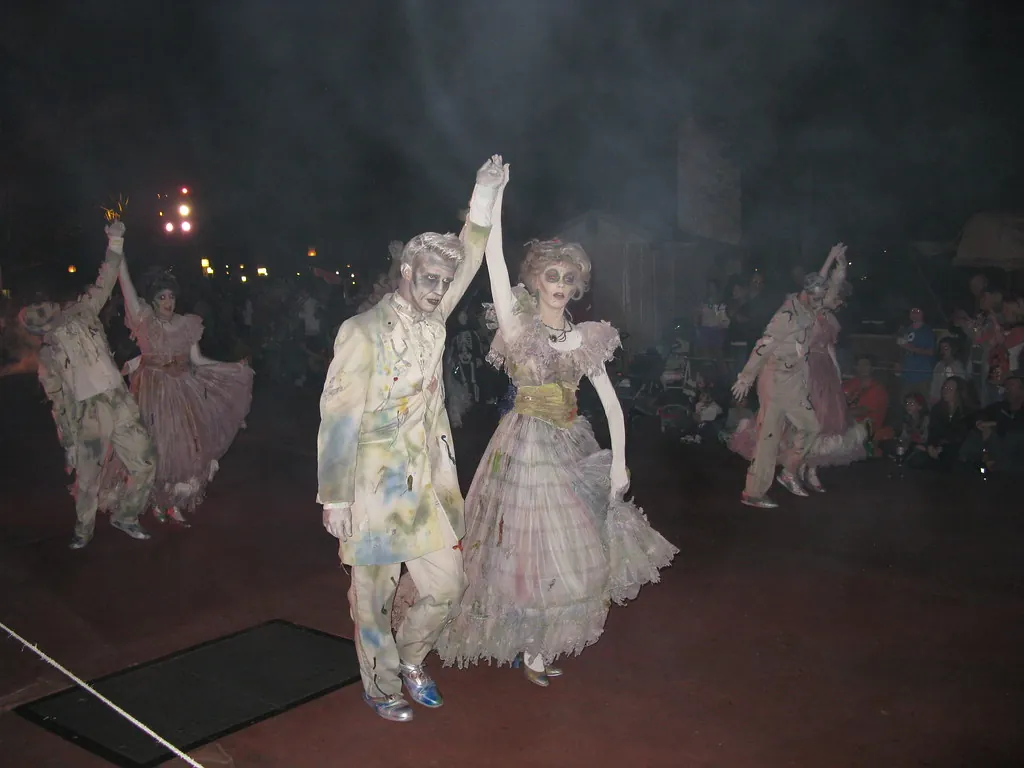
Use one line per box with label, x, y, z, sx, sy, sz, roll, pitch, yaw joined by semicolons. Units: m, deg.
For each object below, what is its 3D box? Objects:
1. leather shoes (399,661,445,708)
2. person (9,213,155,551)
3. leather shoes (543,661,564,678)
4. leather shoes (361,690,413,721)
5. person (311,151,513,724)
leather shoes;-0.488;1.614;3.739;0.123;0.146;0.331;-14;29;-39
person;-3.905;-0.048;6.507;0.831;2.898;1.491;-6;10;-35
leather shoes;0.244;1.659;4.055;0.101;0.119;0.057;-2;27;0
leather shoes;-0.641;1.677;3.640;0.231;0.108;0.115;5;4;34
person;-0.543;0.294;3.646;0.944;2.857;0.506;-3;9;-21
